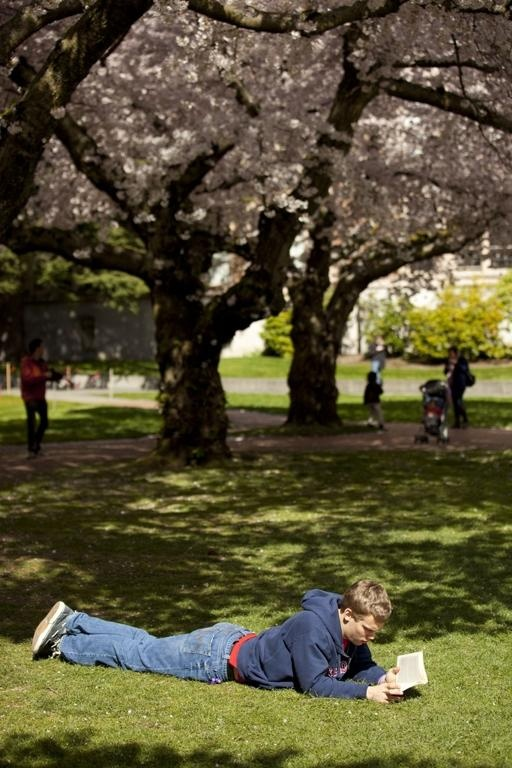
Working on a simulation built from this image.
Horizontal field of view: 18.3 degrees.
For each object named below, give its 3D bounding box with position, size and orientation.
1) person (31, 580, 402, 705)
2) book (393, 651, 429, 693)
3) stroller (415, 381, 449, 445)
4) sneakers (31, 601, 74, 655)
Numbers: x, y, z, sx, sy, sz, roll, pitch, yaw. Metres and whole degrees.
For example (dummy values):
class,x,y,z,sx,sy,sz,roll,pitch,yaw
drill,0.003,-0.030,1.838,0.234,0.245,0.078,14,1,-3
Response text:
class,x,y,z,sx,sy,sz,roll,pitch,yaw
person,-0.264,1.672,10.726,2.499,0.855,0.687,4,4,10
book,0.983,1.860,10.256,0.163,0.244,0.333,-4,4,-33
stroller,2.479,0.388,22.625,0.479,0.891,0.838,-1,3,9
sneakers,-1.411,1.714,11.058,0.106,0.334,0.147,30,3,13
